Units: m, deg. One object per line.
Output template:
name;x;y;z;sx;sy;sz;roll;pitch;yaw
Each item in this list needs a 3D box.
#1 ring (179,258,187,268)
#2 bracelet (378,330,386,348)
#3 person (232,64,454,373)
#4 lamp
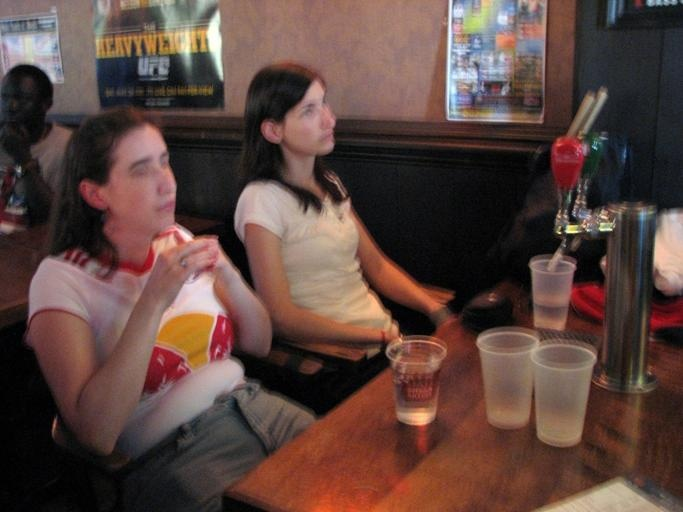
ring;-0.399;0.017;1.291;0.018;0.019;0.007;3;-7;3
bracelet;0.150;0.321;1.939;0.042;0.045;0.043;-1;0;3
person;0.020;-0.166;2.019;0.837;1.078;0.847;-5;14;-15
lamp;0.538;-0.172;1.185;0.094;0.214;0.186;7;17;26
